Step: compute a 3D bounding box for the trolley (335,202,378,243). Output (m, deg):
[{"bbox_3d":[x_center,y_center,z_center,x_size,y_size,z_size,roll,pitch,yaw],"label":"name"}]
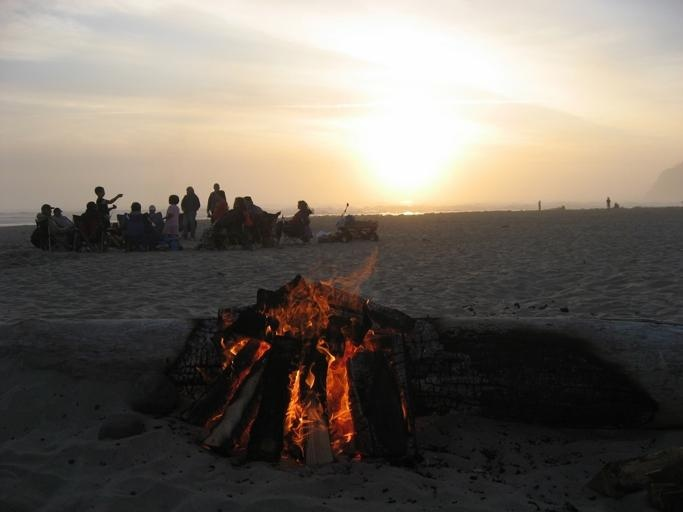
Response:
[{"bbox_3d":[0.553,-1.002,19.618,1.349,1.434,1.444,0,5,2],"label":"trolley"}]
